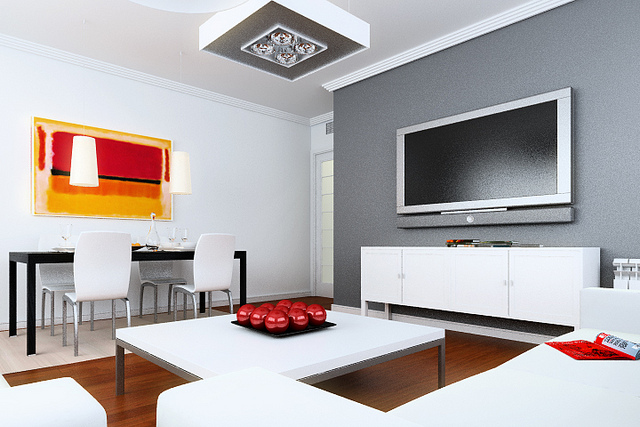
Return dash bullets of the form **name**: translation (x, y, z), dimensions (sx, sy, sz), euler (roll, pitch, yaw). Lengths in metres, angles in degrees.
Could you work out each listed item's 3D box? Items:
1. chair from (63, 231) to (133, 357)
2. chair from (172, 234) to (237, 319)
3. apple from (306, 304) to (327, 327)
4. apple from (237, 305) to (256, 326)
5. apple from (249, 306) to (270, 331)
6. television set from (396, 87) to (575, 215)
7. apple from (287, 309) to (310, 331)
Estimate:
- **chair**: translation (-1.738, 0.630, 3.200), dimensions (0.434, 0.783, 0.514), euler (-2, -14, -25)
- **chair**: translation (-1.213, 0.706, 4.171), dimensions (0.558, 0.813, 0.491), euler (-5, -4, 41)
- **apple**: translation (-0.039, 0.603, 2.386), dimensions (0.125, 0.127, 0.118), euler (-1, -5, -13)
- **apple**: translation (-0.439, 0.603, 2.360), dimensions (0.103, 0.075, 0.095), euler (2, 1, -11)
- **apple**: translation (-0.346, 0.593, 2.271), dimensions (0.120, 0.098, 0.125), euler (9, -11, -43)
- **television set**: translation (1.533, -0.517, 4.009), dimensions (0.162, 0.981, 1.908), euler (2, -2, -36)
- **apple**: translation (-0.129, 0.597, 2.250), dimensions (0.125, 0.086, 0.123), euler (3, -6, -45)
